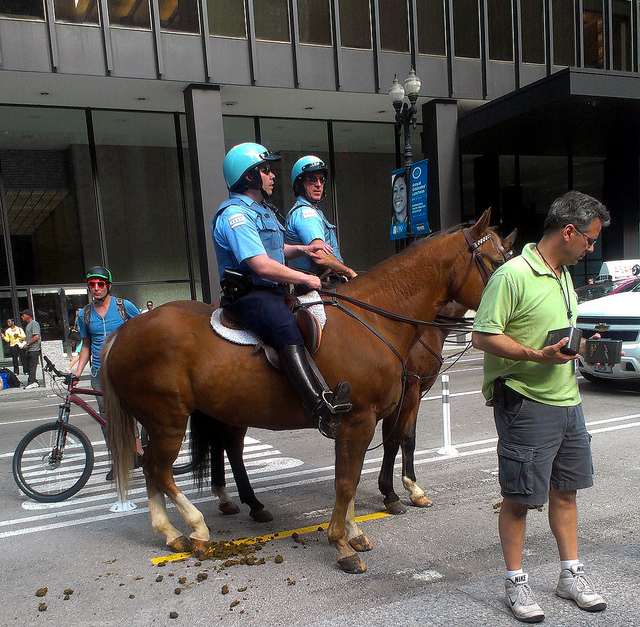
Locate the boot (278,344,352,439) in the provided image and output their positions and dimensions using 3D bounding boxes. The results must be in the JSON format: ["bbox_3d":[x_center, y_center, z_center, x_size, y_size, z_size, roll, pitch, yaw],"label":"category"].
[{"bbox_3d":[-0.036,0.564,5.749,0.313,1.082,0.280,1,-35,-48],"label":"boot"}]

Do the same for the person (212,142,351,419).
[{"bbox_3d":[-0.401,-0.294,5.936,0.618,2.131,1.100,-6,7,-29],"label":"person"}]

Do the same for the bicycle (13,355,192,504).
[{"bbox_3d":[-2.199,1.222,8.122,2.052,1.400,0.850,-3,-15,-32],"label":"bicycle"}]

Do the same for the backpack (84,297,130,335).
[{"bbox_3d":[-2.426,-0.034,8.684,0.357,0.579,0.502,-3,3,4],"label":"backpack"}]

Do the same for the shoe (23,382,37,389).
[{"bbox_3d":[-6.654,1.677,17.542,0.114,0.161,0.343,-2,-6,25],"label":"shoe"}]

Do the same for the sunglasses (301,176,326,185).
[{"bbox_3d":[-0.056,-1.231,6.969,0.193,0.071,0.105,-4,7,-10],"label":"sunglasses"}]

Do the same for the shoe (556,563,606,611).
[{"bbox_3d":[1.761,1.883,5.252,0.155,0.282,0.402,-1,2,-38],"label":"shoe"}]

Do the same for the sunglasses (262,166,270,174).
[{"bbox_3d":[-0.425,-1.168,6.135,0.031,0.064,0.102,-1,7,14],"label":"sunglasses"}]
